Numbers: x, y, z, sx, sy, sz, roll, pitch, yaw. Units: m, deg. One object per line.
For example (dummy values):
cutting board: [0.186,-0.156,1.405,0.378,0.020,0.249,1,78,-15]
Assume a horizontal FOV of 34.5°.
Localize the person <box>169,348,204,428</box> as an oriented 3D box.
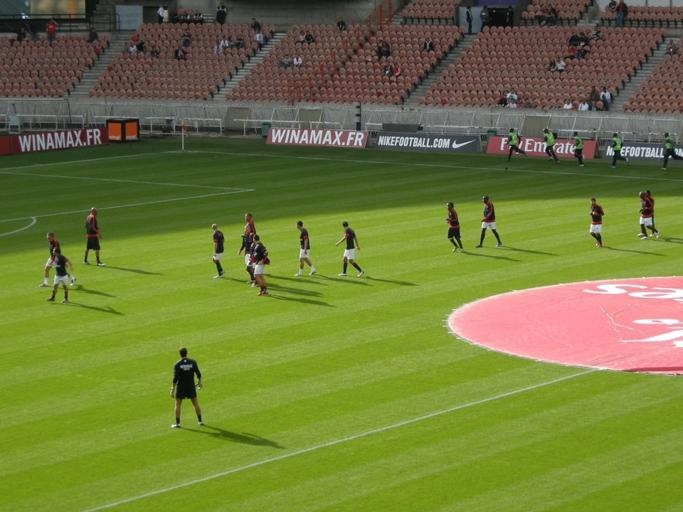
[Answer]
person: [-3.712,3.029,26.154,0.729,1.853,1.083,-2,15,-8]
